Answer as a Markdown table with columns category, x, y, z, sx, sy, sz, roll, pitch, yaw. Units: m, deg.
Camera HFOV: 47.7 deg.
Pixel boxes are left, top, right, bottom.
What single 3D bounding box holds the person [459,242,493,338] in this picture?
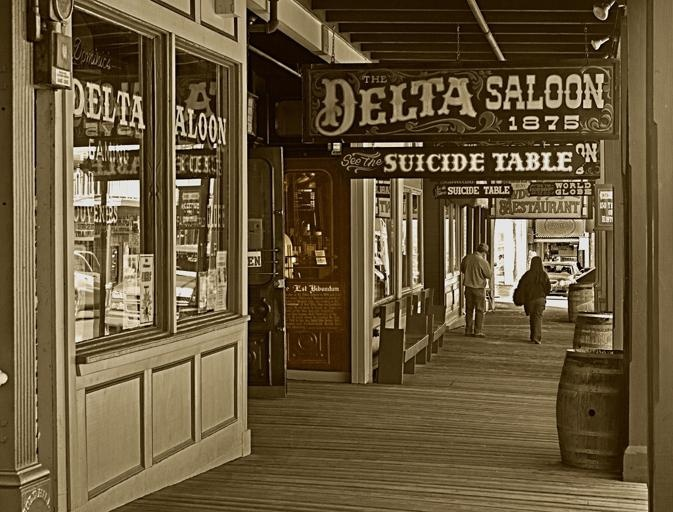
| category | x | y | z | sx | sy | sz | roll | pitch | yaw |
| --- | --- | --- | --- | --- | --- | --- | --- | --- | --- |
| person | 2.777 | 0.687 | 15.105 | 0.557 | 1.648 | 0.804 | 1 | 0 | 10 |

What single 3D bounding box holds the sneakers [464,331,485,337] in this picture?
| category | x | y | z | sx | sy | sz | roll | pitch | yaw |
| --- | --- | --- | --- | --- | --- | --- | --- | --- | --- |
| sneakers | 2.789 | 1.535 | 15.249 | 0.365 | 0.178 | 0.137 | 0 | -1 | 14 |

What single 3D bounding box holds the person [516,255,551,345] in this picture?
| category | x | y | z | sx | sy | sz | roll | pitch | yaw |
| --- | --- | --- | --- | --- | --- | --- | --- | --- | --- |
| person | 3.767 | 0.824 | 14.611 | 0.643 | 1.437 | 1.432 | 1 | 1 | 15 |
